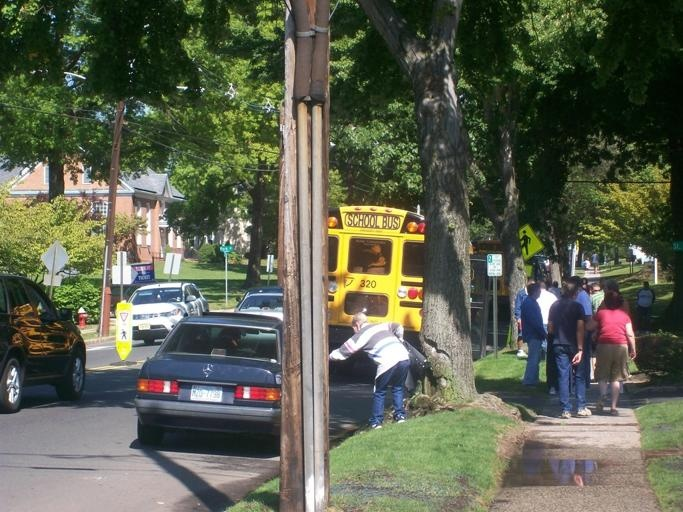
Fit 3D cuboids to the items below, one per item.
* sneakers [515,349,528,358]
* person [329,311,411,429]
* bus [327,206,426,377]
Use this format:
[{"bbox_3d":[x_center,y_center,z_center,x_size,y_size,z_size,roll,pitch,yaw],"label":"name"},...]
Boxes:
[{"bbox_3d":[4.693,2.494,24.273,0.398,0.319,0.142,-1,5,-16],"label":"sneakers"},{"bbox_3d":[0.578,1.848,15.468,0.964,1.861,1.220,-2,-3,13],"label":"person"},{"bbox_3d":[0.807,0.291,21.211,1.848,2.071,3.141,0,-2,9],"label":"bus"}]
